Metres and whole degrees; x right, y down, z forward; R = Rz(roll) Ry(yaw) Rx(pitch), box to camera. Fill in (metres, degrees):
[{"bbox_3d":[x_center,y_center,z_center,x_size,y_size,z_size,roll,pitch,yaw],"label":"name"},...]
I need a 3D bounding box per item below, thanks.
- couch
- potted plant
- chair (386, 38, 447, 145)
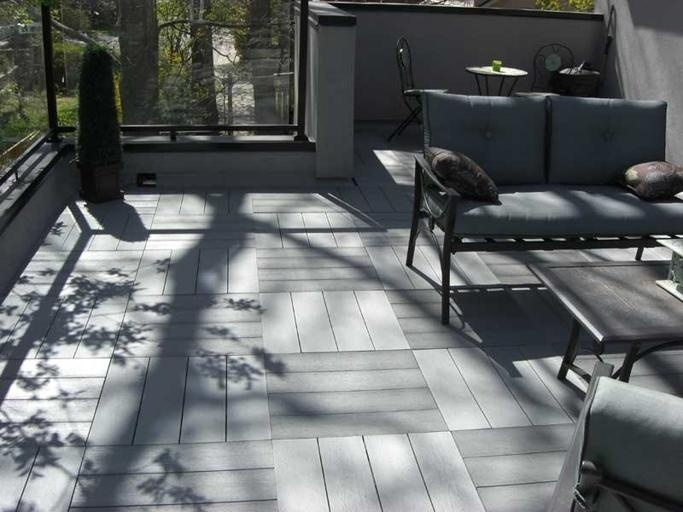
[{"bbox_3d":[1.254,-0.296,3.105,1.712,0.977,0.832,-2,36,-6],"label":"couch"},{"bbox_3d":[-2.054,-1.067,4.101,0.389,1.252,0.192,-9,22,-23],"label":"potted plant"},{"bbox_3d":[1.039,-2.188,6.493,0.910,1.221,0.821,0,26,-3],"label":"chair"}]
